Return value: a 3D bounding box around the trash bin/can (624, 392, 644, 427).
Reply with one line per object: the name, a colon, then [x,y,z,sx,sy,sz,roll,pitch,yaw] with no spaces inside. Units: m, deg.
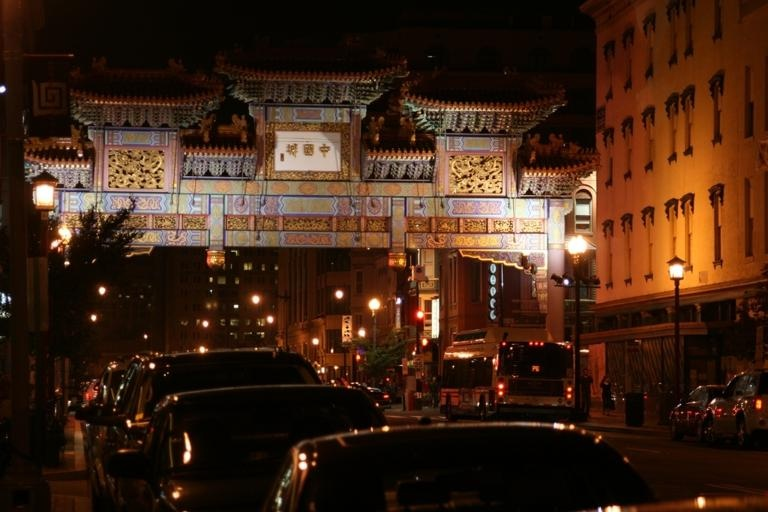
trash bin/can: [10.102,6.114,57.220,0.846,1.418,0.790,1,4,31]
